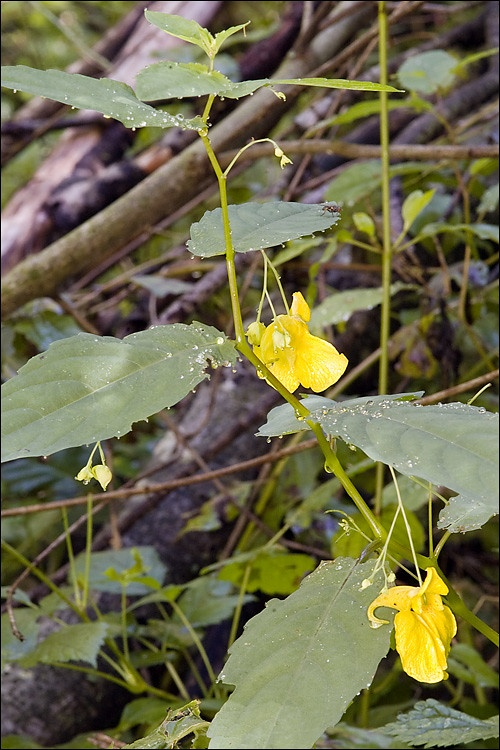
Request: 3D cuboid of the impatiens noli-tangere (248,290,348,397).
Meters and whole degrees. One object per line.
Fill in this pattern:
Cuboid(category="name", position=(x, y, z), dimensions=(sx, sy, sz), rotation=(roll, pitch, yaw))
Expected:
Cuboid(category="impatiens noli-tangere", position=(0.044, -0.021, 0.715), dimensions=(0.095, 0.108, 0.038), rotation=(33, 70, 34))

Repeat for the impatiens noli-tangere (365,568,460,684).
Cuboid(category="impatiens noli-tangere", position=(0.159, 0.223, 0.650), dimensions=(0.077, 0.085, 0.072), rotation=(-19, 25, -9))
